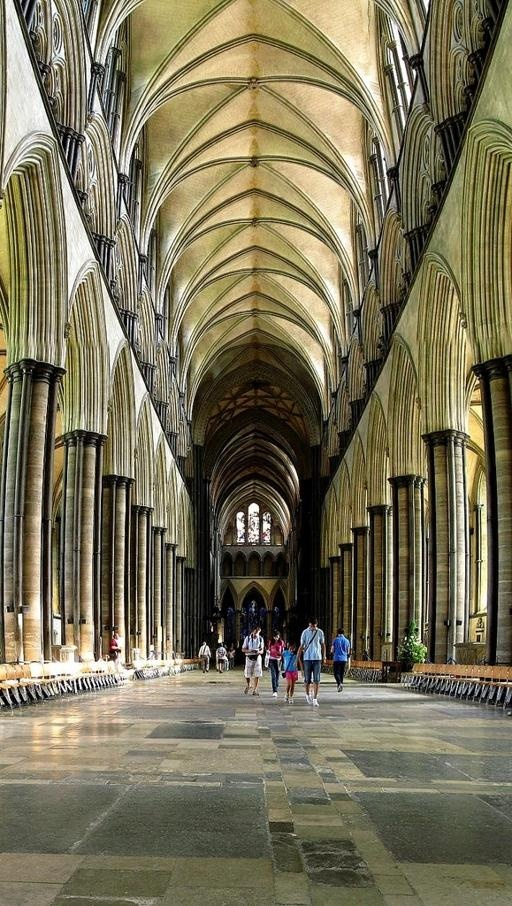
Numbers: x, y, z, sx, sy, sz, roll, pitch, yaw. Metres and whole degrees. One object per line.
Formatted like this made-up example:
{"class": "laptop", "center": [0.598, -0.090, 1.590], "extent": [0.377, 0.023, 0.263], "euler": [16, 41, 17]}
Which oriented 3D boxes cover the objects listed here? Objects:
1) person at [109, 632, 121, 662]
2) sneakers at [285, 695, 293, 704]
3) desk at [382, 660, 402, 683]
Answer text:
{"class": "person", "center": [-3.729, 5.094, 19.194], "extent": [0.220, 0.698, 0.891], "euler": [3, -13, -13]}
{"class": "sneakers", "center": [0.523, 3.907, 11.620], "extent": [0.071, 0.142, 0.263], "euler": [2, -12, -3]}
{"class": "desk", "center": [3.508, 5.618, 18.978], "extent": [0.416, 0.595, 0.528], "euler": [2, -27, -4]}
